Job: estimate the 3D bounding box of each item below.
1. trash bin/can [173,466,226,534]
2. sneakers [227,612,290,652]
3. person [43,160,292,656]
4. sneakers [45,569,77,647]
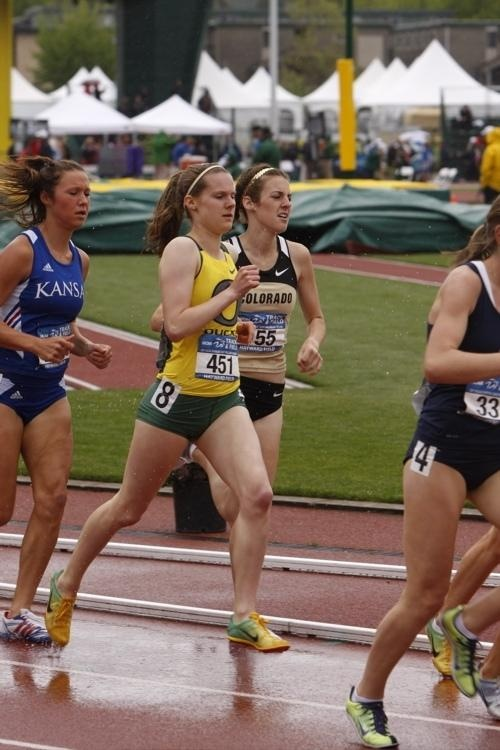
[{"bbox_3d":[-0.357,0.806,5.959,0.410,0.364,0.344,0,-4,-4],"label":"trash bin/can"},{"bbox_3d":[0.032,0.914,3.274,0.276,0.115,0.101,2,3,38],"label":"sneakers"},{"bbox_3d":[-0.198,0.113,3.419,0.920,1.860,0.567,2,2,36],"label":"person"},{"bbox_3d":[-0.723,0.869,3.523,0.109,0.276,0.137,1,-4,-34],"label":"sneakers"}]
